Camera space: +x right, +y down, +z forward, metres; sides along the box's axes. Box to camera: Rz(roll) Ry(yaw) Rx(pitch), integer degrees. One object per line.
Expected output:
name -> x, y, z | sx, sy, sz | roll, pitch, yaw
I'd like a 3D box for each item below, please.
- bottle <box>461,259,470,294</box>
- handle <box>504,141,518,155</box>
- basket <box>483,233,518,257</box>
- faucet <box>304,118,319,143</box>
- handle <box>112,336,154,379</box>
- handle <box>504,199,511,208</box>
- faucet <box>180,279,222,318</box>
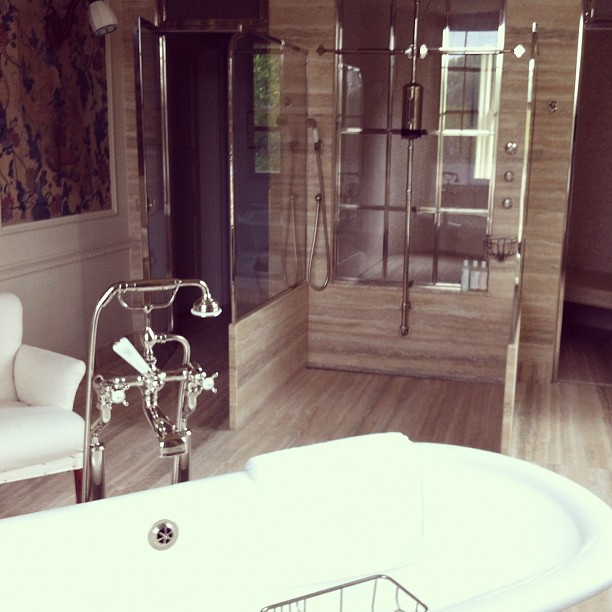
bottle -> 1.003, -0.190, 3.775 | 0.051, 0.192, 0.018 | 0, 5, -1
handle -> 1.222, -0.941, 3.574 | 0.062, 0.077, 0.027 | 7, 3, 27
basket -> 1.188, -0.380, 3.647 | 0.157, 0.150, 0.182 | -5, 12, -15
faucet -> 0.036, -1.113, 3.798 | 0.088, 0.169, 0.126 | 1, 5, 8
handle -> -0.426, 0.127, 1.487 | 0.087, 0.120, 0.175 | -1, 6, -14
handle -> 1.215, -0.624, 3.626 | 0.039, 0.050, 0.011 | -3, -2, 15
faucet -> -0.287, -0.027, 1.535 | 0.109, 0.095, 0.071 | -9, 25, -27
